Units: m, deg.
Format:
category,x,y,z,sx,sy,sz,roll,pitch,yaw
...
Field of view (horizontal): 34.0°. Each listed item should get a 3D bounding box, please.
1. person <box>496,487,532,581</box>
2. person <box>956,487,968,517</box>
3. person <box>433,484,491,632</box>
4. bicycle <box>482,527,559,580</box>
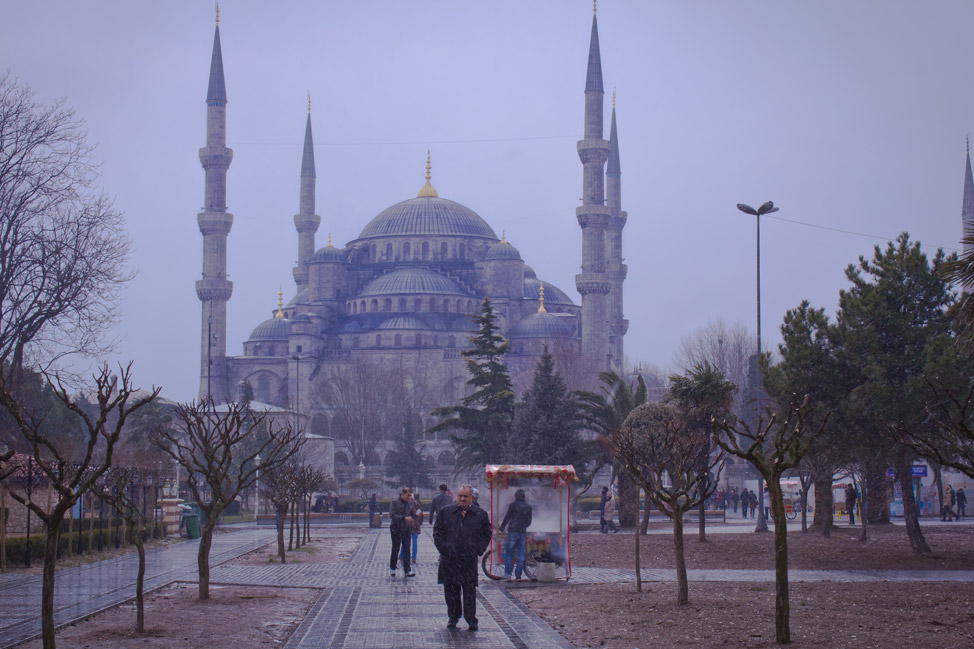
category,x,y,z,sx,sy,sz,roll,pitch,yaw
person,0.635,5.005,38.057,0.760,2.129,1.043,-1,-8,1
person,18.948,7.177,64.353,0.266,1.127,1.045,-3,-8,13
person,-0.579,4.694,32.274,1.084,2.836,0.797,-1,-7,-1
bicycle,0.772,5.629,39.059,1.835,1.250,0.993,1,-9,2
